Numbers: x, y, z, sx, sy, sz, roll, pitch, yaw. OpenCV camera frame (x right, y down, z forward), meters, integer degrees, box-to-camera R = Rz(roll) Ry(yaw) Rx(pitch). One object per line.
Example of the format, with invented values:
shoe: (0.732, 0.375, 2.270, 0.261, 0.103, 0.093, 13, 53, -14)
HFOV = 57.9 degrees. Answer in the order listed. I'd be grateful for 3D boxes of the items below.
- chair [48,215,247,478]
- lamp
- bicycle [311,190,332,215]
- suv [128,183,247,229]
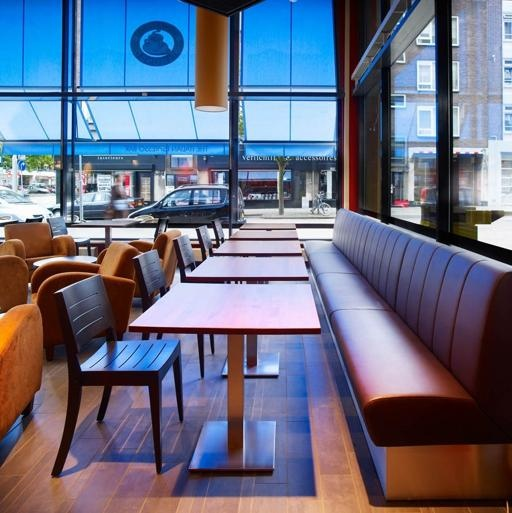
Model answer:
chair: (-0.673, 0.537, 2.363, 0.521, 0.855, 0.648, 0, 6, 0)
lamp: (-0.501, -2.187, 5.174, 0.370, 1.052, 0.349, -1, 6, -9)
bicycle: (1.169, -0.941, 8.308, 0.343, 0.458, 0.275, 0, 4, 4)
suv: (-1.301, -0.944, 8.918, 1.531, 1.040, 1.035, 4, 3, 2)
